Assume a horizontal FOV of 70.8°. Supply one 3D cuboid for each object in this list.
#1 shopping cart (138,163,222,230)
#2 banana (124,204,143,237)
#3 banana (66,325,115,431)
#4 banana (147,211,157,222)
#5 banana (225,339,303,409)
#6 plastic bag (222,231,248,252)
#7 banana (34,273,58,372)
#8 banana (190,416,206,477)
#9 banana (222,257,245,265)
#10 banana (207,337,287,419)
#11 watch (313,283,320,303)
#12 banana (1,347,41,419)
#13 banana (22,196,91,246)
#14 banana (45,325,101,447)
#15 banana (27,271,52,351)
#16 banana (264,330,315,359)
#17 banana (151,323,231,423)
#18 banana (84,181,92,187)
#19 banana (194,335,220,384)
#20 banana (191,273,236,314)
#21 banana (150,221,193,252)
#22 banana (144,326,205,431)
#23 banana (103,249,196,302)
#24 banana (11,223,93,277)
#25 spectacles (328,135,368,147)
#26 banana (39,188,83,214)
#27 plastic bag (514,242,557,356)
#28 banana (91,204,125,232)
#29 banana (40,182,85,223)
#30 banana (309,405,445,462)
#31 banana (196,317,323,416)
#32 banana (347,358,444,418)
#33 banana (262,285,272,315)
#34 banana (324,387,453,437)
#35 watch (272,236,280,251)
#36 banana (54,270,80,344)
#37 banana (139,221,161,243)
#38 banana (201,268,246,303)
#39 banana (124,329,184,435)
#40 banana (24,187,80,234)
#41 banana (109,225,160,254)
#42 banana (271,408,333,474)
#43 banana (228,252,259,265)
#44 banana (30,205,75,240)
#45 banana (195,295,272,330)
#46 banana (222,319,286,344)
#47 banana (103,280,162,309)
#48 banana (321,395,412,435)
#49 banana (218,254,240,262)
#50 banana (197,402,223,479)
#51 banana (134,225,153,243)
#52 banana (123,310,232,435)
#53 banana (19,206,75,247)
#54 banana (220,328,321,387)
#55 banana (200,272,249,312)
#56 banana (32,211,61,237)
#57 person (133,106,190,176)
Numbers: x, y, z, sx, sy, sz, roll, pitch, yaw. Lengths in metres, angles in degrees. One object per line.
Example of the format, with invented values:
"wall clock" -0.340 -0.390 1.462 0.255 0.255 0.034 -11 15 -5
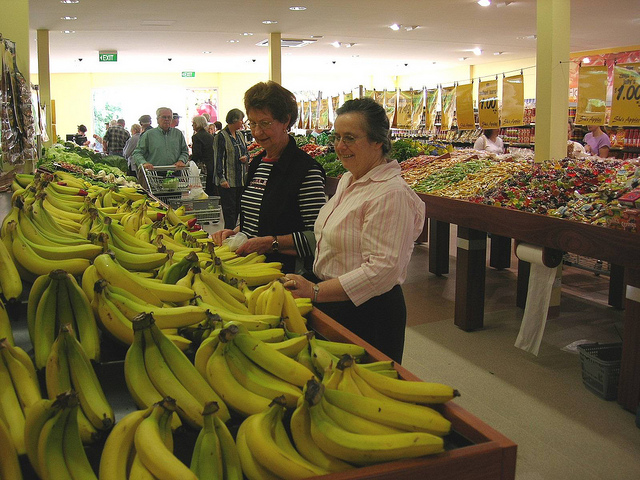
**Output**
"shopping cart" -2.162 -0.543 6.670 1.088 1.099 0.686 4 -25 -18
"banana" -1.025 -0.102 2.445 0.071 0.055 0.205 -41 22 35
"banana" -0.554 0.327 1.064 0.082 0.235 0.050 -40 -5 19
"banana" -1.045 -0.146 2.764 0.056 0.067 0.074 -1 -3 -12
"banana" -0.147 0.332 1.104 0.184 0.116 0.059 39 8 -3
"plastic bag" -0.481 0.030 2.558 0.132 0.043 0.103 -32 38 -7
"banana" -0.723 0.219 1.174 0.051 0.242 0.085 1 -19 -16
"banana" -0.246 0.411 0.890 0.025 0.094 0.016 14 -17 -31
"banana" -0.419 0.088 2.167 0.021 0.043 0.121 -46 -8 18
"banana" -0.172 0.313 1.072 0.293 0.186 0.096 -8 -2 40
"watch" -0.019 0.218 1.943 0.037 0.060 0.060 1 46 -2
"banana" -0.691 0.326 1.020 0.036 0.149 0.058 -28 -4 2
"banana" -1.040 -0.036 1.742 0.043 0.114 0.303 25 -4 37
"banana" -0.557 0.325 0.993 0.057 0.238 0.087 -7 -16 -39
"banana" -0.776 0.191 1.273 0.072 0.224 0.063 5 -2 44
"banana" -0.072 0.283 1.319 0.053 0.073 0.205 -39 -21 29
"banana" -0.308 0.318 1.060 0.048 0.230 0.078 -39 -2 -13
"banana" -1.948 -0.463 3.717 0.072 0.024 0.092 4 26 -22
"banana" -0.286 0.285 1.130 0.057 0.147 0.038 9 -4 -8
"banana" -0.365 0.180 1.502 0.155 0.054 0.032 44 34 22
"banana" -0.749 -0.013 2.219 0.220 0.136 0.067 31 -16 -31
"banana" -0.347 0.326 1.044 0.049 0.228 0.079 -29 -8 -44
"banana" -0.520 0.122 1.444 0.085 0.169 0.422 -11 -12 38
"banana" -1.031 0.020 1.671 0.088 0.185 0.292 17 10 21
"spectacles" 0.122 -0.469 2.133 0.076 0.054 0.204 -13 17 -39
"banana" -1.530 -0.223 2.622 0.099 0.265 0.048 -52 2 42
"plastic bag" 1.751 0.491 3.685 0.175 0.926 0.367 -8 14 -21
"banana" -1.074 -0.111 2.244 0.040 0.194 0.066 -43 9 -5
"banana" -1.503 -0.212 2.586 0.382 0.056 0.134 36 7 11
"banana" 0.112 0.413 0.987 0.306 0.131 0.082 -8 -22 15
"banana" -0.186 0.341 1.122 0.258 0.115 0.165 32 7 -9
"banana" 0.192 0.412 1.169 0.318 0.116 0.060 -20 -7 34
"banana" -0.183 0.202 1.527 0.017 0.095 0.025 15 9 31
"banana" 0.150 0.412 1.082 0.388 0.121 0.091 -16 -25 28
"watch" -0.248 0.020 2.447 0.042 0.069 0.064 -1 7 -10
"banana" -0.675 0.179 1.180 0.038 0.180 0.069 -7 -4 -13
"banana" -0.845 -0.037 2.204 0.049 0.040 0.106 -12 28 10
"banana" -0.361 0.167 1.630 0.039 0.157 0.027 -41 24 7
"banana" -0.405 0.284 1.103 0.090 0.330 0.115 -15 -16 -31
"banana" -1.348 -0.144 2.229 0.056 0.316 0.112 -40 -19 22
"banana" -0.768 0.000 1.827 0.048 0.091 0.246 -20 -29 30
"banana" -0.039 0.429 0.960 0.054 0.154 0.032 -44 -4 -4
"banana" -0.374 0.081 2.198 0.062 0.032 0.185 10 22 35
"banana" -1.201 -0.074 1.988 0.218 0.082 0.036 40 19 -2
"banana" -0.264 0.231 1.390 0.275 0.105 0.053 10 -29 -7
"banana" -0.193 0.252 1.250 0.174 0.047 0.060 9 30 3
"banana" -0.568 0.160 1.329 0.103 0.035 0.018 36 27 -10
"banana" 0.097 0.392 1.008 0.151 0.028 0.053 19 16 20
"banana" -0.467 0.080 2.246 0.021 0.033 0.097 -29 -2 33
"banana" -0.223 0.400 0.885 0.047 0.143 0.074 -5 14 -9
"banana" -0.857 -0.027 2.159 0.051 0.055 0.088 30 23 11
"banana" -0.344 0.318 1.061 0.089 0.221 0.156 -32 -12 -49
"banana" -1.162 -0.060 1.793 0.091 0.052 0.262 -32 37 -27
"banana" -0.112 0.312 1.167 0.320 0.103 0.068 16 -12 3
"banana" -0.347 0.185 1.579 0.027 0.151 0.051 -40 18 21
"banana" -1.166 -0.066 1.884 0.026 0.144 0.051 -18 -29 -54
"person" -2.528 -1.598 6.982 0.799 0.871 0.566 -7 14 -20
